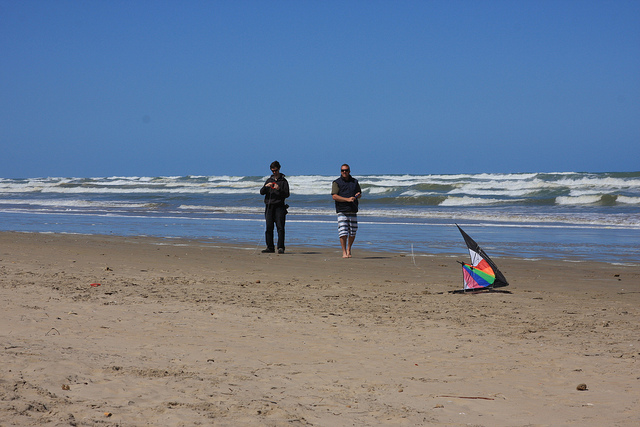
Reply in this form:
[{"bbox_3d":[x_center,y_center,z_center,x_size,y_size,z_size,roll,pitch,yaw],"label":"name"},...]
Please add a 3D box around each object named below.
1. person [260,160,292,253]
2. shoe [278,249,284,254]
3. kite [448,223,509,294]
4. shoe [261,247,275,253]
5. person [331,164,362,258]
[{"bbox_3d":[-0.969,-0.111,16.209,0.585,1.988,0.865,1,13,-4],"label":"person"},{"bbox_3d":[-0.828,0.805,16.069,0.080,0.087,0.097,-1,0,0],"label":"shoe"},{"bbox_3d":[2.975,0.850,14.407,1.069,1.022,0.167,-9,-21,-14],"label":"kite"},{"bbox_3d":[-1.072,0.784,16.013,0.291,0.166,0.092,4,-2,15],"label":"shoe"},{"bbox_3d":[0.491,-0.043,15.153,0.551,1.948,0.879,3,12,2],"label":"person"}]
